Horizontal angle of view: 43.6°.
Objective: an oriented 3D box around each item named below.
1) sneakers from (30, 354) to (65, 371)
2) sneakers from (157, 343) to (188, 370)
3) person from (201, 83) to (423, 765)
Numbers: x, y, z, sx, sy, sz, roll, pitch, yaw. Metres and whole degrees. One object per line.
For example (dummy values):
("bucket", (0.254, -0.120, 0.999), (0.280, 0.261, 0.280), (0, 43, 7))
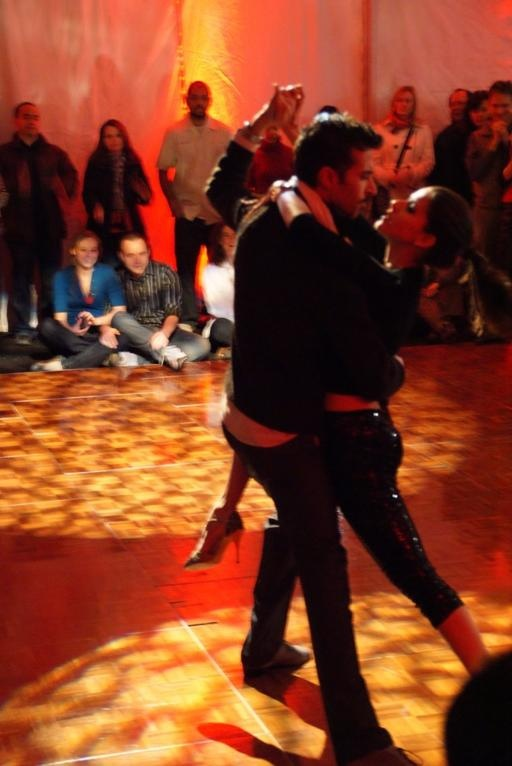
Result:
("sneakers", (-1.771, -0.157, 5.533), (0.328, 0.127, 0.110), (1, 3, -7))
("sneakers", (-0.724, -0.230, 5.573), (0.144, 0.112, 0.325), (-17, 25, -23))
("person", (0.144, 0.085, 1.505), (0.433, 1.622, 0.730), (-3, 12, -7))
